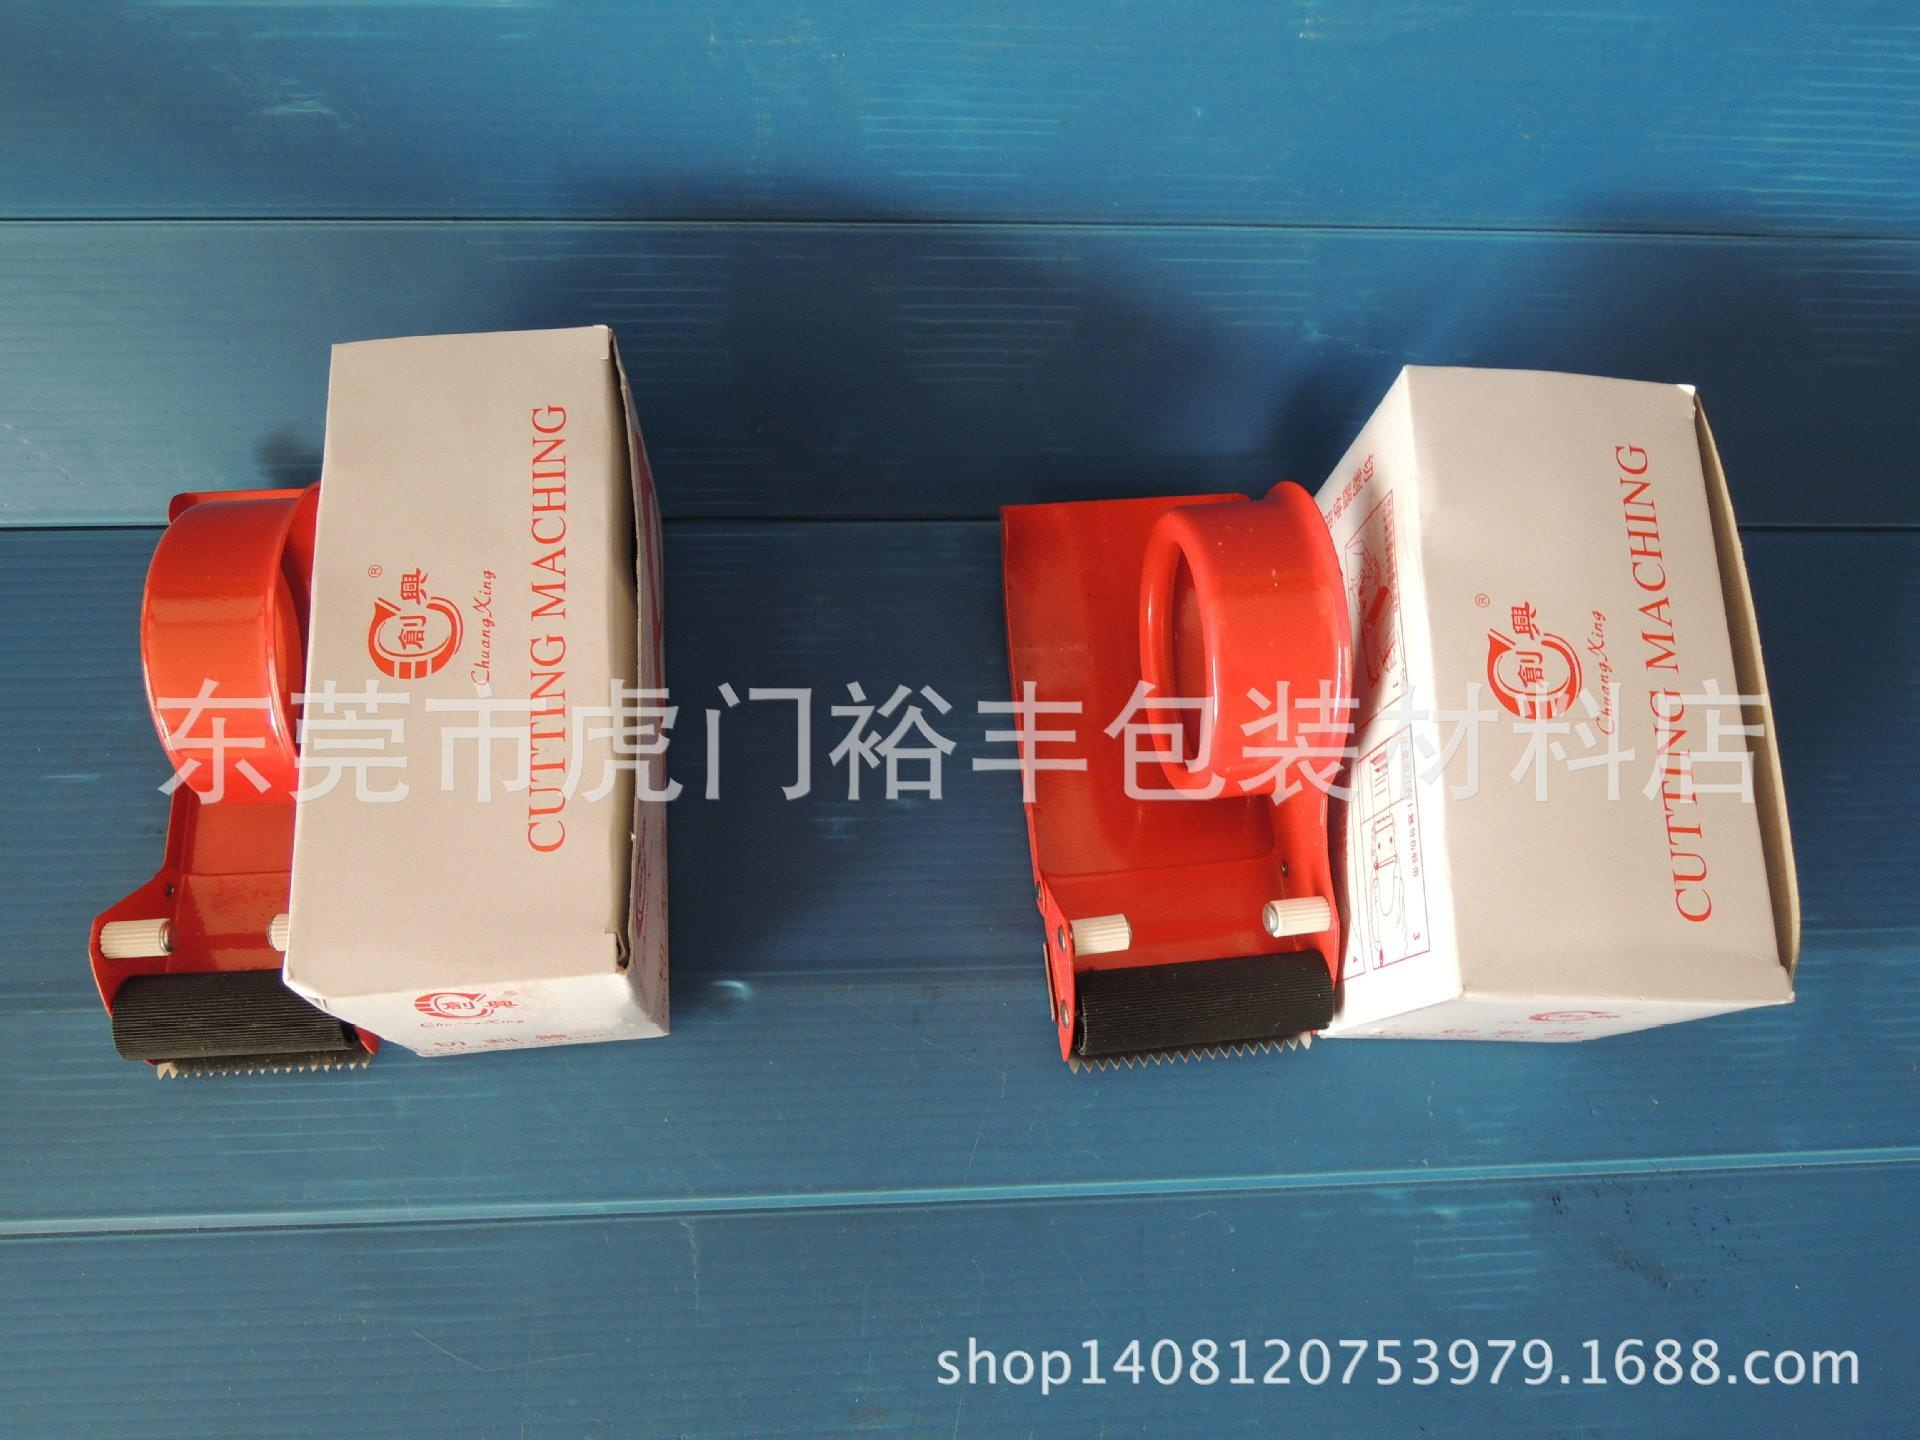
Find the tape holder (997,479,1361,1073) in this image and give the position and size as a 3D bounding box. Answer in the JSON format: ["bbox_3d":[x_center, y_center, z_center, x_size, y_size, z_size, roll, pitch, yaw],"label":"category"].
[{"bbox_3d":[0.272,0.075,2.536,0.468,0.285,0.684,-4,82,4],"label":"tape holder"}]
